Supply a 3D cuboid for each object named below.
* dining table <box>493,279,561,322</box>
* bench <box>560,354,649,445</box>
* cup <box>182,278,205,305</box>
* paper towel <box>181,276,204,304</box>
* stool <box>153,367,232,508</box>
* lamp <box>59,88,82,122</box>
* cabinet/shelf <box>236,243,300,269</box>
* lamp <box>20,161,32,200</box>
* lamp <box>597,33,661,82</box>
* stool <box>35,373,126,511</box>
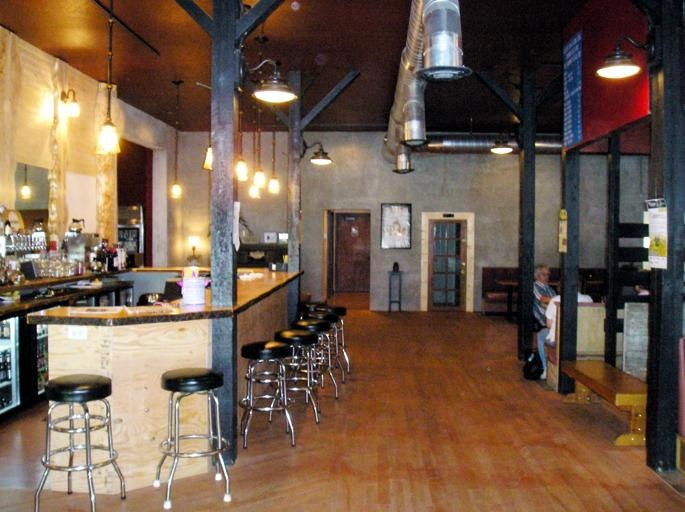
[{"bbox_3d":[3.585,0.590,12.144,1.215,0.852,0.707,0,4,6],"label":"dining table"},{"bbox_3d":[2.735,1.472,6.486,0.587,0.613,1.299,-2,2,4],"label":"bench"},{"bbox_3d":[-1.378,0.320,5.940,0.231,0.257,0.237,0,-2,0],"label":"cup"},{"bbox_3d":[-1.360,0.324,5.940,0.229,0.253,0.226,1,-2,-24],"label":"paper towel"},{"bbox_3d":[-1.269,1.471,5.437,0.643,1.062,0.722,-3,2,-18],"label":"stool"},{"bbox_3d":[-3.899,-2.165,9.199,0.290,0.515,1.221,-3,2,-21],"label":"lamp"},{"bbox_3d":[-1.548,-0.017,12.674,0.940,0.445,0.428,-2,2,-8],"label":"cabinet/shelf"},{"bbox_3d":[-4.340,-0.992,8.843,0.103,0.454,0.334,-2,2,-11],"label":"lamp"},{"bbox_3d":[2.685,-1.833,5.971,0.471,0.369,0.418,1,12,15],"label":"lamp"},{"bbox_3d":[-2.210,1.489,5.264,0.822,1.073,0.645,-2,2,3],"label":"stool"}]
